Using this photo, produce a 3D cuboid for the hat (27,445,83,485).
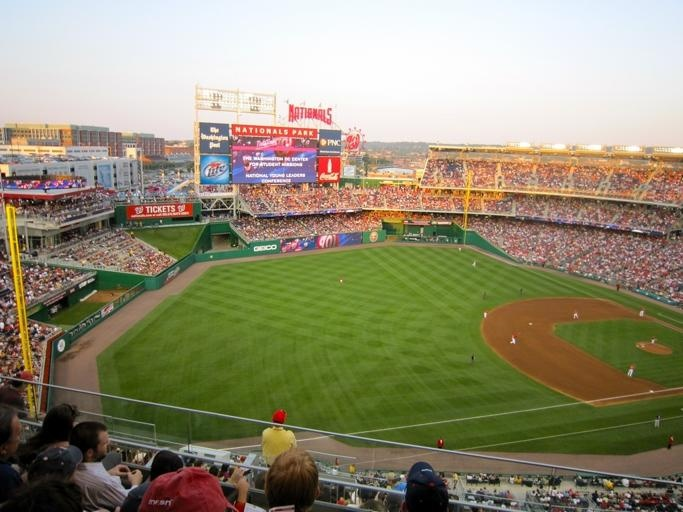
[{"bbox_3d":[-4.218,3.053,7.734,0.449,0.318,0.632,26,36,25],"label":"hat"}]
